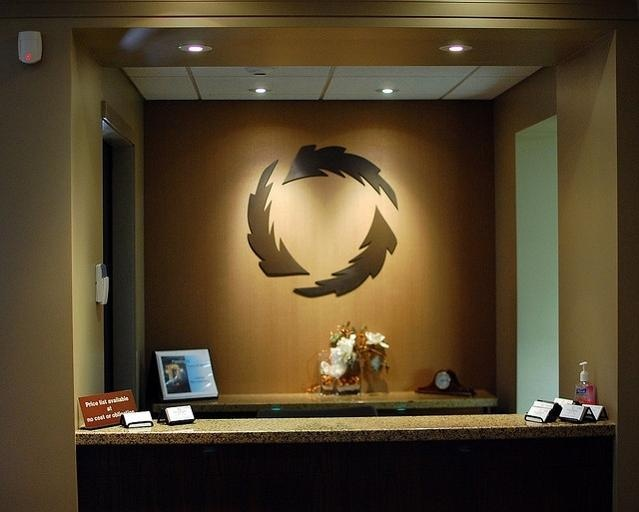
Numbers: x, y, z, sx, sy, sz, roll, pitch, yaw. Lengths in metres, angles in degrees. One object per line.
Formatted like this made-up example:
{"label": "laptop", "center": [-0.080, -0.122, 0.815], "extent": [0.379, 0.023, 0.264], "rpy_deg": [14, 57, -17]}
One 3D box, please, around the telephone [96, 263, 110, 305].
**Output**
{"label": "telephone", "center": [-1.249, 0.162, 3.358], "extent": [0.065, 0.249, 0.174], "rpy_deg": [-2, 8, -21]}

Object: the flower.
{"label": "flower", "center": [0.252, 0.715, 4.487], "extent": [0.402, 0.248, 0.411], "rpy_deg": [-5, 1, -28]}
